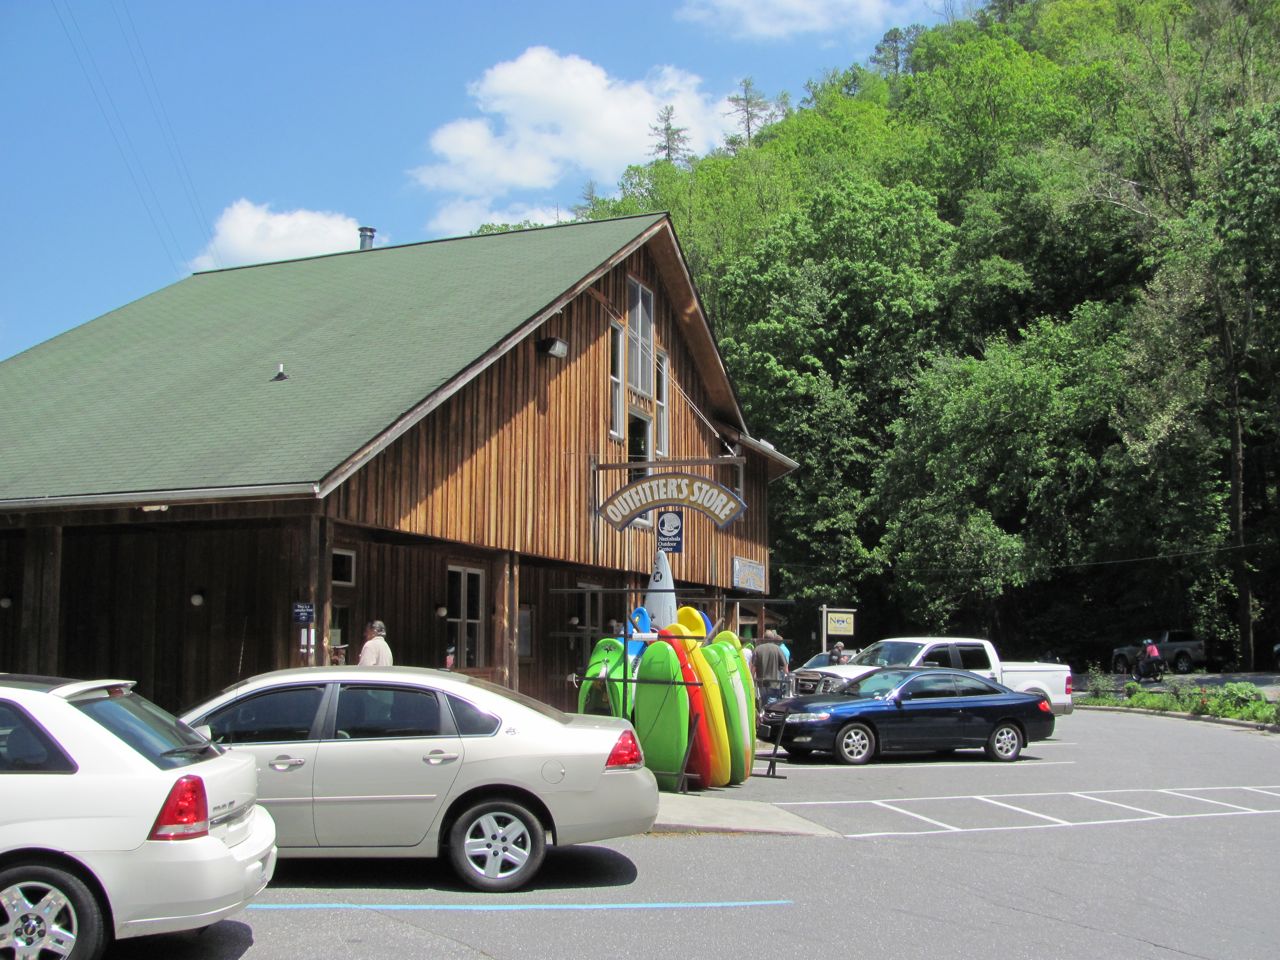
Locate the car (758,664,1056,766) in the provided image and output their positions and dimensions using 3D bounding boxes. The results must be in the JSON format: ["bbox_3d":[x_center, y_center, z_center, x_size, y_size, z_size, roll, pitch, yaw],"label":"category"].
[{"bbox_3d":[4.595,3.972,20.697,4.673,1.561,0.779,2,-7,-9],"label":"car"}]

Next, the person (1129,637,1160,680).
[{"bbox_3d":[18.890,6.839,45.560,0.899,1.239,1.895,3,1,8],"label":"person"}]

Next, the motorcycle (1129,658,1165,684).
[{"bbox_3d":[18.842,7.092,45.488,1.018,0.843,1.661,-1,-2,22],"label":"motorcycle"}]

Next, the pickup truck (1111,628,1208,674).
[{"bbox_3d":[20.442,6.727,48.010,2.978,1.398,1.743,0,-5,15],"label":"pickup truck"}]
